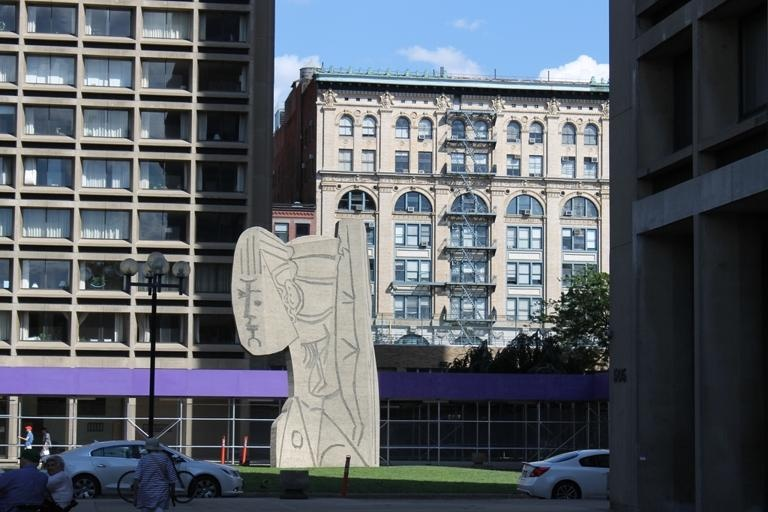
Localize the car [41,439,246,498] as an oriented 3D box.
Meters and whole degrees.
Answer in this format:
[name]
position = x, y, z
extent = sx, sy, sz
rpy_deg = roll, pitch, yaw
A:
[car]
position = -11.844, 10.351, 97.714
extent = 8.418, 3.660, 2.286
rpy_deg = 1, -5, -8
